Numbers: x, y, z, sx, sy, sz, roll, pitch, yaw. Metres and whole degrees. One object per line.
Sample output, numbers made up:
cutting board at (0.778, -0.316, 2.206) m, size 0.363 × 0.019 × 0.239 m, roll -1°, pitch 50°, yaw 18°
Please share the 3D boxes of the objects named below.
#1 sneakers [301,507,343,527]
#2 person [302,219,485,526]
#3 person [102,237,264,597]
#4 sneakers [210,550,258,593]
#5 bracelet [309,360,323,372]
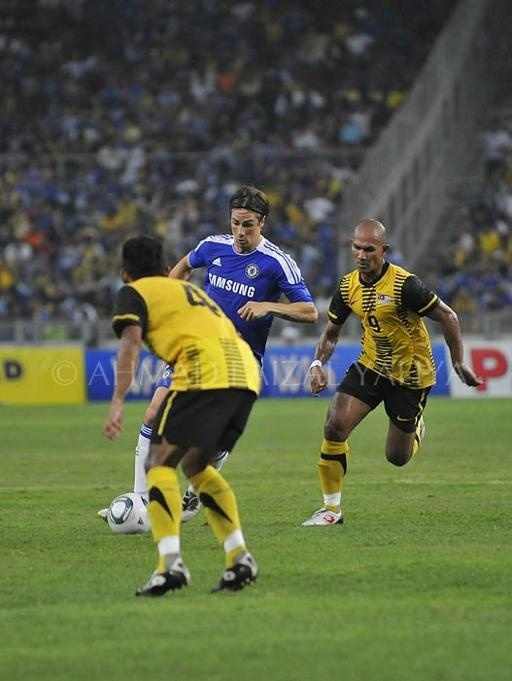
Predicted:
sneakers at (0.376, 0.991, 5.382) m, size 0.256 × 0.075 × 0.080 m, roll -1°, pitch -4°, yaw -12°
person at (0.741, 0.234, 5.474) m, size 0.894 × 1.823 × 0.805 m, roll 2°, pitch 15°, yaw 2°
person at (-0.278, 0.310, 3.869) m, size 0.591 × 1.417 × 0.665 m, roll 1°, pitch 15°, yaw 0°
sneakers at (-0.060, 0.905, 3.838) m, size 0.216 × 0.116 × 0.088 m, roll -17°, pitch 39°, yaw -10°
bracelet at (0.341, 0.141, 5.493) m, size 0.066 × 0.044 × 0.072 m, roll -2°, pitch 0°, yaw 2°
